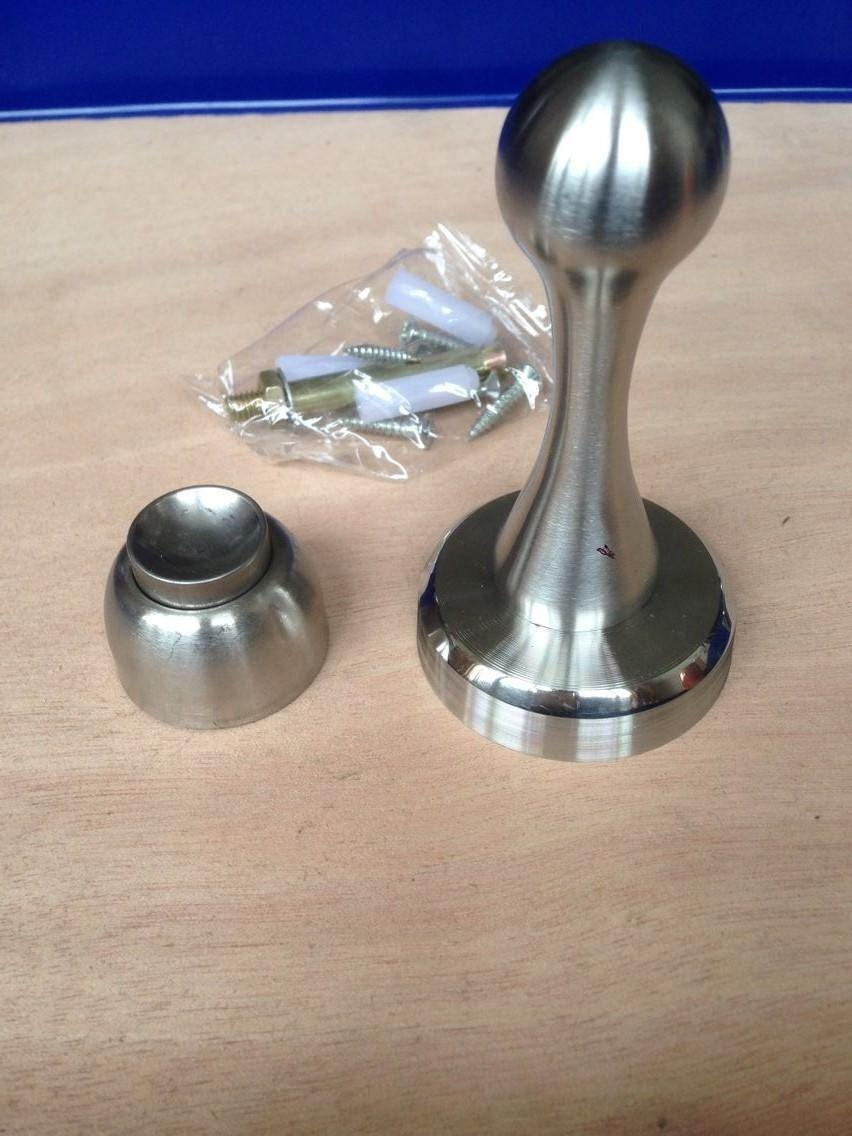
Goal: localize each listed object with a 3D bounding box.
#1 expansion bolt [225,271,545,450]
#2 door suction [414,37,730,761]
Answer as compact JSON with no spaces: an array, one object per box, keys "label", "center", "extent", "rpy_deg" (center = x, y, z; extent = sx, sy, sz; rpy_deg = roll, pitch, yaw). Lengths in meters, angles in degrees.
[{"label":"expansion bolt","center":[-0.020,-0.119,0.703],"extent":[0.153,0.040,0.117],"rpy_deg":[1,46,1]},{"label":"door suction","center":[0.058,-0.061,0.473],"extent":[0.139,0.292,0.133],"rpy_deg":[-5,38,1]}]
